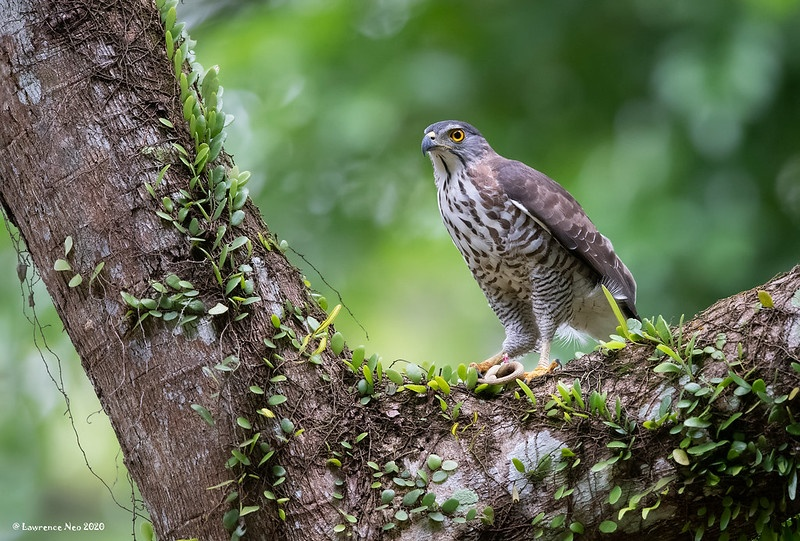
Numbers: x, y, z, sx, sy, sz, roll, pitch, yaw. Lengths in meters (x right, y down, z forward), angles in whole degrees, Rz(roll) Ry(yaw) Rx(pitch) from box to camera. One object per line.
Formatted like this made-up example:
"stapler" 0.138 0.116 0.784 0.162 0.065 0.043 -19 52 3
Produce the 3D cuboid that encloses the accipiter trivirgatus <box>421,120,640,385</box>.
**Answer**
"accipiter trivirgatus" 0.797 0.005 7.833 2.056 1.738 0.960 13 -26 -32
